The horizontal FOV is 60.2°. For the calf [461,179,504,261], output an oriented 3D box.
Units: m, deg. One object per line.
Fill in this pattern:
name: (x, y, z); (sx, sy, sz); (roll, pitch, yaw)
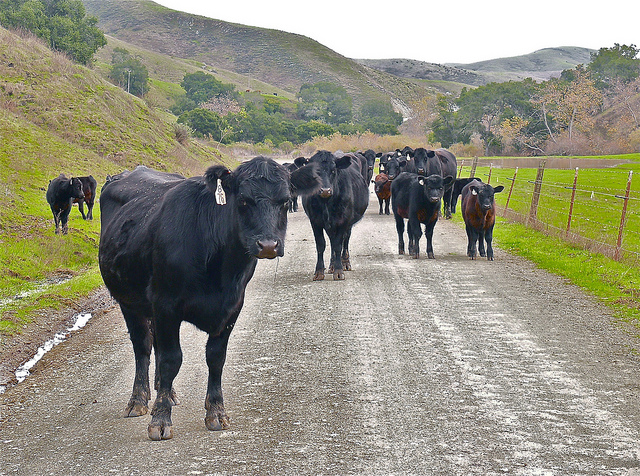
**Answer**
calf: (4.661, -0.585, 16.242); (0.963, 2.098, 2.011); (3, 12, 15)

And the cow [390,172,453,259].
cow: (3.109, -0.743, 17.406); (1.189, 2.643, 4.020); (-1, 6, -5)

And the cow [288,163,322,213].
cow: (-0.231, -0.665, 6.488); (0.311, 0.433, 0.586); (8, 14, 36)

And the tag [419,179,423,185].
tag: (2.979, -1.659, 16.299); (0.094, 0.162, 0.357); (1, 11, 9)

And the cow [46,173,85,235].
cow: (-8.184, -1.132, 17.756); (1.051, 1.556, 2.541); (-6, 12, -23)

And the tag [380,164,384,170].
tag: (3.331, -3.786, 29.526); (0.135, 0.232, 0.479); (0, -1, 6)

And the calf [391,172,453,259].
calf: (2.951, -0.824, 16.847); (1.126, 2.313, 3.119); (-1, 11, -3)

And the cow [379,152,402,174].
cow: (3.727, -4.478, 30.514); (0.772, 1.192, 2.284); (-2, -6, -2)

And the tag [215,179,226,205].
tag: (-1.102, -0.511, 6.077); (0.113, 0.281, 0.125); (-3, 12, -9)

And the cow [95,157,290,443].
cow: (-1.635, 0.624, 6.658); (1.479, 3.174, 2.931); (-12, 16, -43)

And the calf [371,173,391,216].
calf: (2.931, -2.098, 26.107); (0.745, 1.826, 1.930); (0, 12, 5)
